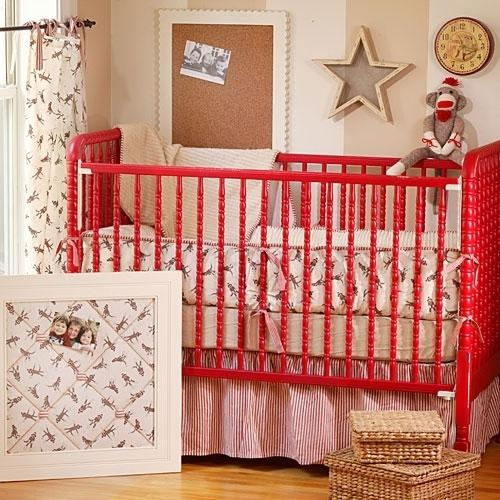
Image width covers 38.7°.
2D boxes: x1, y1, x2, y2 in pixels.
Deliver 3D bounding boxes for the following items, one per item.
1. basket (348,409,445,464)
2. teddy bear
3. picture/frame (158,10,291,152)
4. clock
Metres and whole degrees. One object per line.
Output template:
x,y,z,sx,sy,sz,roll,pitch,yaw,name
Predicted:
0.429,0.543,2.072,0.281,0.117,0.188,1,2,5,basket
0.757,-0.538,3.028,0.435,0.453,0.260,4,18,20,teddy bear
-0.101,-0.803,3.277,0.608,0.796,0.035,3,10,13,picture/frame
0.908,-0.860,2.986,0.249,0.277,0.038,3,7,26,clock
